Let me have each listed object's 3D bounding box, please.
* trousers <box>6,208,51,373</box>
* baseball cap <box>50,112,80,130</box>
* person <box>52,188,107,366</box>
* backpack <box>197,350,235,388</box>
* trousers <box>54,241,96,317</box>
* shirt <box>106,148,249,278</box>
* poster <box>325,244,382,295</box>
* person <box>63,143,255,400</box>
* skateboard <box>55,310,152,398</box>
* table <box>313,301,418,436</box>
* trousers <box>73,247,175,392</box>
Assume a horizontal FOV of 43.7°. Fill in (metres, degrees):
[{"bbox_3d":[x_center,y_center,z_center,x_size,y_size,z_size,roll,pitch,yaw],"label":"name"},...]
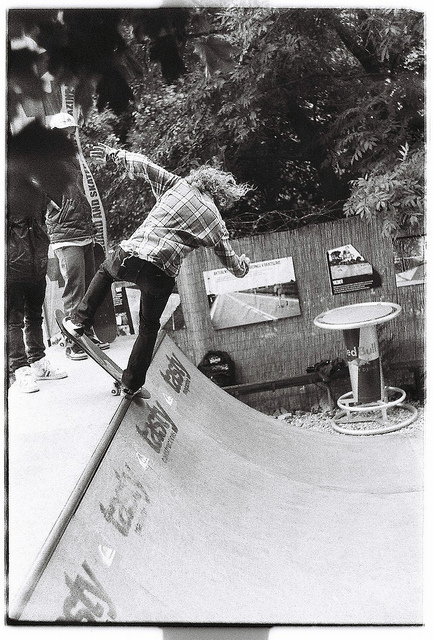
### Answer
[{"bbox_3d":[-1.256,-0.123,3.642,0.163,1.212,0.219,-7,22,-22],"label":"trousers"},{"bbox_3d":[-1.018,-1.308,3.603,0.133,0.092,0.112,-3,26,18],"label":"baseball cap"},{"bbox_3d":[-1.041,-0.421,4.222,0.372,1.562,0.328,-19,46,-30],"label":"person"},{"bbox_3d":[-0.002,0.431,4.763,0.328,0.331,0.092,-10,8,0],"label":"backpack"},{"bbox_3d":[-1.040,-0.302,4.009,0.160,0.700,0.268,4,9,2],"label":"trousers"},{"bbox_3d":[-0.250,-0.604,3.210,0.559,0.947,0.683,14,25,21],"label":"shirt"},{"bbox_3d":[1.174,-0.453,4.662,0.432,0.399,0.046,-11,8,0],"label":"poster"},{"bbox_3d":[-0.335,-0.336,3.247,1.208,1.512,0.421,-14,10,-29],"label":"person"},{"bbox_3d":[-0.761,0.244,3.543,0.081,0.610,0.144,-30,20,11],"label":"skateboard"},{"bbox_3d":[1.260,0.438,4.712,0.721,1.244,0.771,0,20,5],"label":"table"},{"bbox_3d":[-0.507,0.018,3.117,0.567,0.866,0.217,-8,8,12],"label":"trousers"}]
